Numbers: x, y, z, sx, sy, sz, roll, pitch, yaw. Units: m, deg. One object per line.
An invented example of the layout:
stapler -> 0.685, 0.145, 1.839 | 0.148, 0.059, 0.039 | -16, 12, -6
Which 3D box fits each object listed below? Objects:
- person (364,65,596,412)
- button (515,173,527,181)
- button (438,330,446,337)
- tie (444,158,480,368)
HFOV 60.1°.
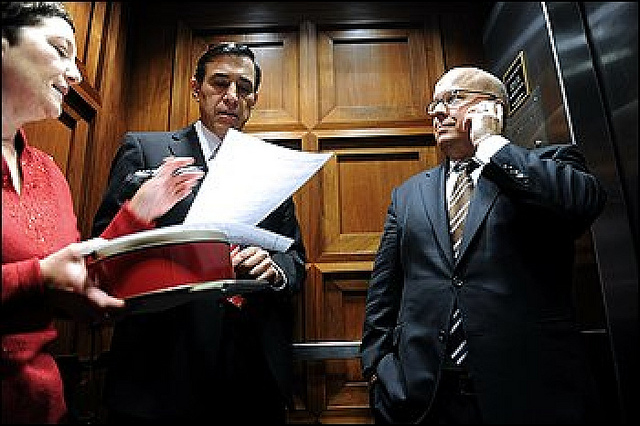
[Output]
person -> 0.366, 0.065, 1.322 | 0.510, 0.830, 0.172 | 2, -4, 26
button -> 0.478, -0.087, 1.311 | 0.018, 0.017, 0.013 | 0, -6, 8
button -> 0.287, 0.282, 1.295 | 0.012, 0.012, 0.013 | 10, 0, -18
tie -> 0.344, 0.149, 1.309 | 0.013, 0.560, 0.116 | 2, 0, -15
